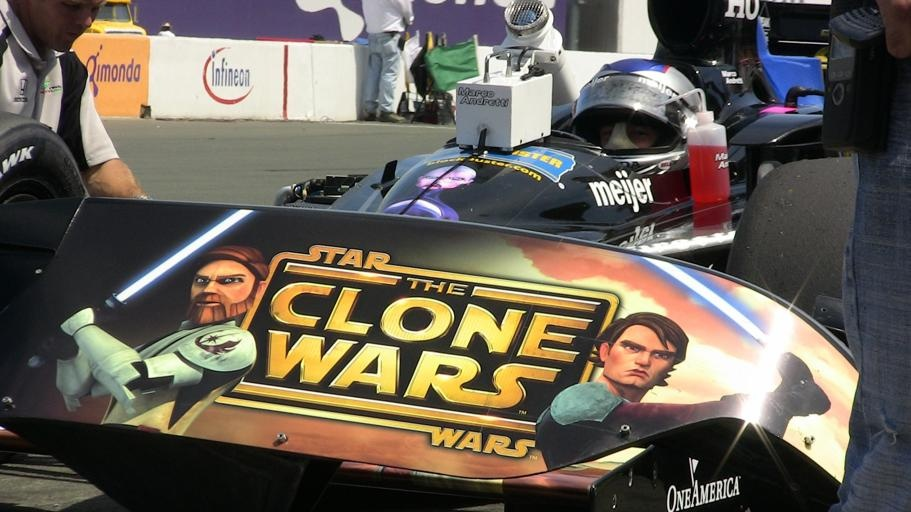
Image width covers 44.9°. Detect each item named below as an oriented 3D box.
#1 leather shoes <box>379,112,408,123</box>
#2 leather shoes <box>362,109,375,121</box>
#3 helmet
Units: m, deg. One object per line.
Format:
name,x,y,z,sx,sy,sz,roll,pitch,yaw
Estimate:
leather shoes,-0.777,-1.707,13.652,0.294,0.109,0.155,0,14,-11
leather shoes,-1.088,-1.768,13.854,0.182,0.107,0.111,1,10,25
helmet,0.904,-0.695,5.382,0.486,0.415,0.558,-5,-15,30
